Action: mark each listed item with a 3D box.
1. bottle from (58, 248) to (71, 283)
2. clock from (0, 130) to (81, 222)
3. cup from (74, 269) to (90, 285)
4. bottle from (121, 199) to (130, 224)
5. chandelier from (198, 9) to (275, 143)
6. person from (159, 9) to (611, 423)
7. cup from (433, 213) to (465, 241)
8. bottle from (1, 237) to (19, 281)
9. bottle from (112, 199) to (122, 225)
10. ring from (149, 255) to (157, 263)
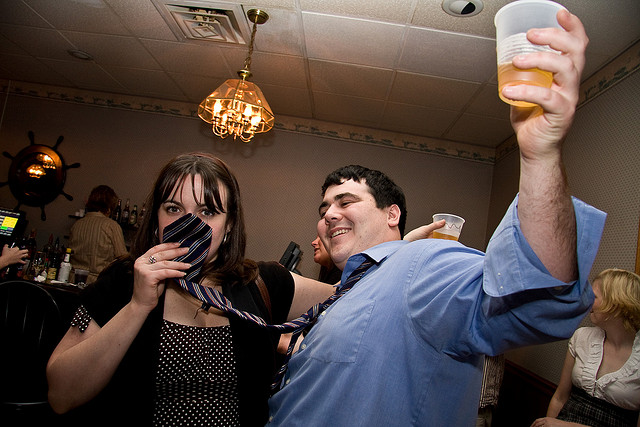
[{"bbox_3d":[-2.866,0.591,4.360,0.103,0.307,0.292,12,-8,-32],"label":"bottle"},{"bbox_3d":[-4.075,-0.509,5.694,1.350,1.432,0.111,1,-3,6],"label":"clock"},{"bbox_3d":[-2.740,0.730,4.426,0.141,0.134,0.154,7,-7,1],"label":"cup"},{"bbox_3d":[-2.776,-0.028,5.553,0.097,0.258,0.267,11,-8,-27],"label":"bottle"},{"bbox_3d":[-0.854,-1.468,3.959,0.643,1.077,0.619,11,-25,2],"label":"chandelier"},{"bbox_3d":[0.335,0.159,1.570,1.315,1.466,0.861,2,-8,36],"label":"person"},{"bbox_3d":[0.664,0.090,2.012,0.182,0.138,0.174,2,-7,0],"label":"cup"},{"bbox_3d":[-3.320,0.471,4.132,0.088,0.413,0.887,12,-8,-37],"label":"bottle"},{"bbox_3d":[-2.909,-0.040,5.553,0.109,0.256,0.181,11,-8,-28],"label":"bottle"},{"bbox_3d":[-0.684,0.190,1.581,0.028,0.027,0.007,1,3,-14],"label":"ring"}]
